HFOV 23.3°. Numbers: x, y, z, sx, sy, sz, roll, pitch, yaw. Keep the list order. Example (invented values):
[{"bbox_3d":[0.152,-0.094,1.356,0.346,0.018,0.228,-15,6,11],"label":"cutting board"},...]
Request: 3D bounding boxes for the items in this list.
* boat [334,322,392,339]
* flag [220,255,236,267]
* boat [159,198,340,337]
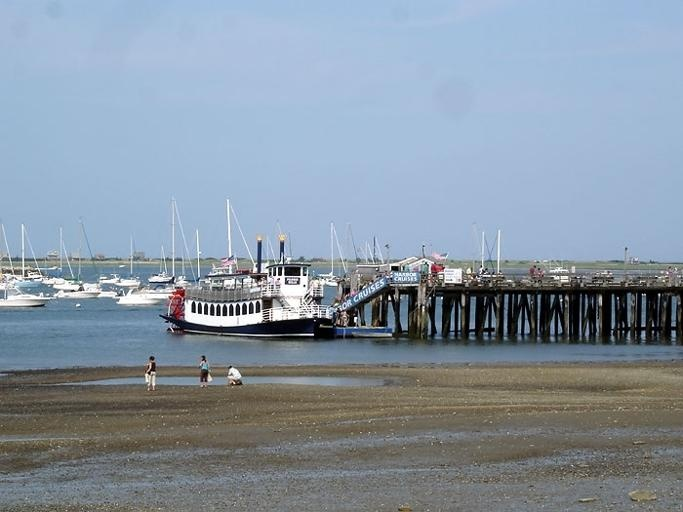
[{"bbox_3d":[1.367,5.093,113.324,4.199,0.937,1.862,-3,9,-17],"label":"boat"},{"bbox_3d":[-8.174,0.364,116.015,0.911,0.760,0.145,0,-5,-17],"label":"flag"},{"bbox_3d":[-6.988,2.830,116.827,5.018,5.991,14.963,-8,12,-38],"label":"boat"}]
